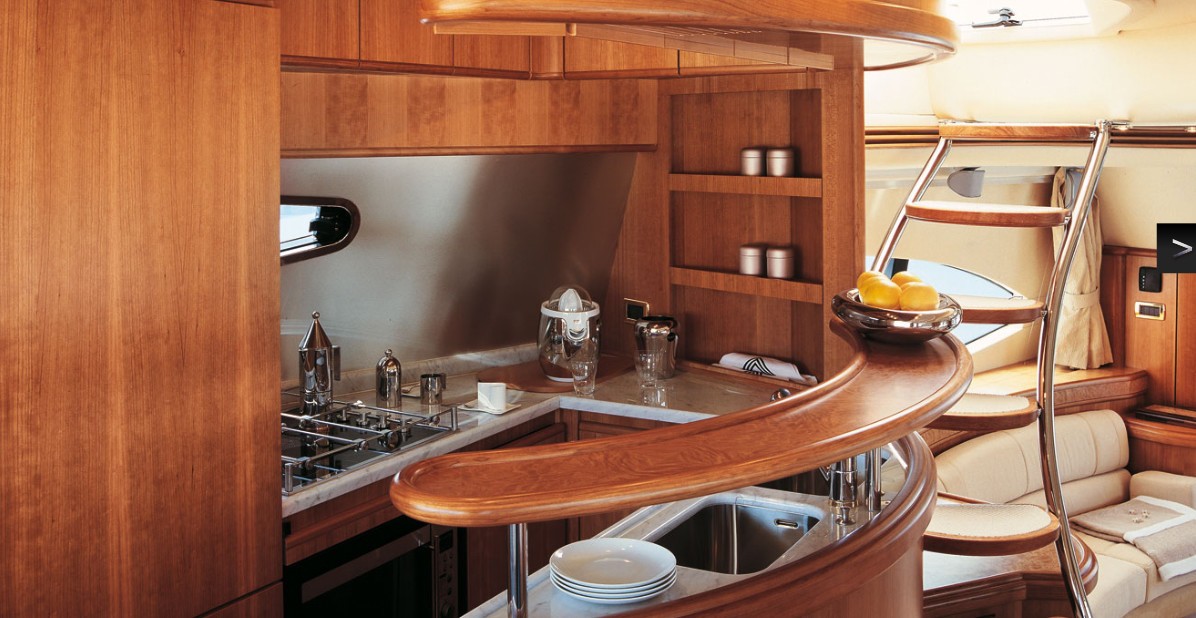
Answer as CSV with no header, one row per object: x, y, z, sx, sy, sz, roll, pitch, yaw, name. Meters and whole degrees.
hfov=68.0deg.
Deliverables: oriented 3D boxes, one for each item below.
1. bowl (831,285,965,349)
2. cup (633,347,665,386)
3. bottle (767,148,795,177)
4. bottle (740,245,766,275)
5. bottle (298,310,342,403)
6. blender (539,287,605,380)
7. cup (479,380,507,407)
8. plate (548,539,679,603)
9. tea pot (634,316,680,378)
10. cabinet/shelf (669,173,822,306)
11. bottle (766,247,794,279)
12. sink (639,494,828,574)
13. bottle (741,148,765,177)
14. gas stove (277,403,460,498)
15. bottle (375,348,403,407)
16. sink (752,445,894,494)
1.108,0.035,3.323,0.446,0.164,0.277,2,12,15,bowl
0.266,0.296,4.635,0.117,0.194,0.180,1,13,10,cup
0.906,-0.737,4.431,0.128,0.133,0.093,0,14,8,bottle
0.787,-0.263,4.578,0.189,0.140,0.156,0,2,0,bottle
-1.333,0.218,4.229,0.148,0.432,0.326,-3,14,-5,bottle
-0.148,0.136,4.587,0.285,0.488,0.228,-6,15,-18,blender
-0.519,0.413,4.249,0.129,0.116,0.047,2,15,15,cup
0.038,0.845,2.868,0.359,0.131,0.267,7,14,35,plate
0.334,0.207,4.773,0.331,0.270,0.332,2,-1,0,tea pot
0.945,-0.410,5.119,0.460,0.709,1.267,13,12,33,cabinet/shelf
0.929,-0.241,4.537,0.136,0.154,0.109,1,14,10,bottle
0.524,0.841,3.289,0.419,0.288,0.505,5,12,35,sink
0.779,-0.748,4.478,0.180,0.139,0.149,-1,2,-2,bottle
-1.132,0.580,3.877,0.879,0.082,0.773,-18,15,-32,gas stove
-1.028,0.328,4.322,0.124,0.262,0.212,-5,14,-14,bottle
1.143,0.796,4.236,0.312,0.157,0.482,-11,7,-28,sink
